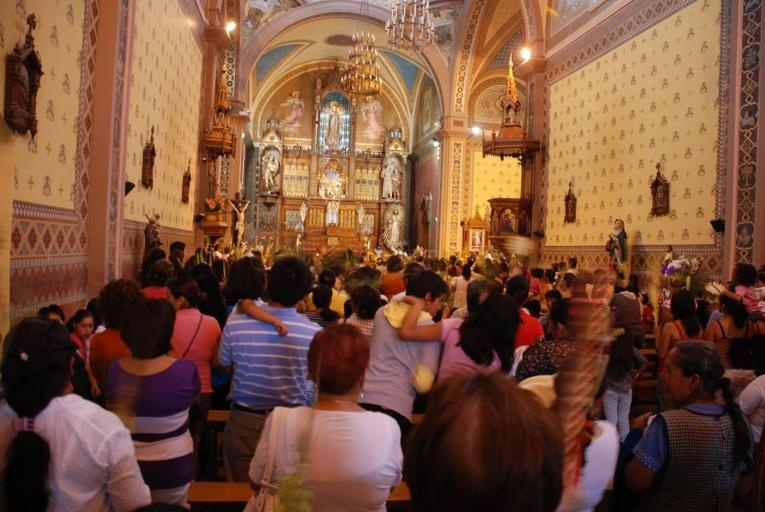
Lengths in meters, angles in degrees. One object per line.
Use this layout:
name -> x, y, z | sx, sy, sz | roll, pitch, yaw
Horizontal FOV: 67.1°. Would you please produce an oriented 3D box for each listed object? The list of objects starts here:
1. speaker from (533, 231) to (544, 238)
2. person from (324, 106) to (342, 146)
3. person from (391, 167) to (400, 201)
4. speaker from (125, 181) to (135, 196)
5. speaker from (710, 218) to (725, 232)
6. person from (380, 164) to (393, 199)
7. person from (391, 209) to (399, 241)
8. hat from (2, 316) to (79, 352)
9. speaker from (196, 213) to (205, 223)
speaker -> 4.128, -0.549, 15.281 | 0.098, 0.185, 0.383 | 3, 0, -23
person -> -2.391, -6.169, 28.115 | 0.816, 2.085, 0.533 | 3, -1, -5
person -> 0.687, -3.485, 28.167 | 0.447, 1.441, 0.181 | 3, -1, -33
speaker -> -3.850, -1.002, 8.772 | 0.108, 0.230, 0.540 | 3, 0, -23
speaker -> 5.526, -0.489, 9.516 | 0.173, 0.259, 0.253 | -8, 8, -7
person -> 0.225, -3.574, 28.099 | 0.546, 1.614, 0.199 | 3, -1, -13
person -> 0.604, -1.437, 27.864 | 0.432, 1.378, 0.299 | 3, -1, -5
hat -> -1.911, 0.455, 3.252 | 0.183, 0.104, 0.269 | 10, 4, -4
speaker -> -4.411, -0.888, 13.843 | 0.050, 0.196, 0.200 | 18, 14, 41
